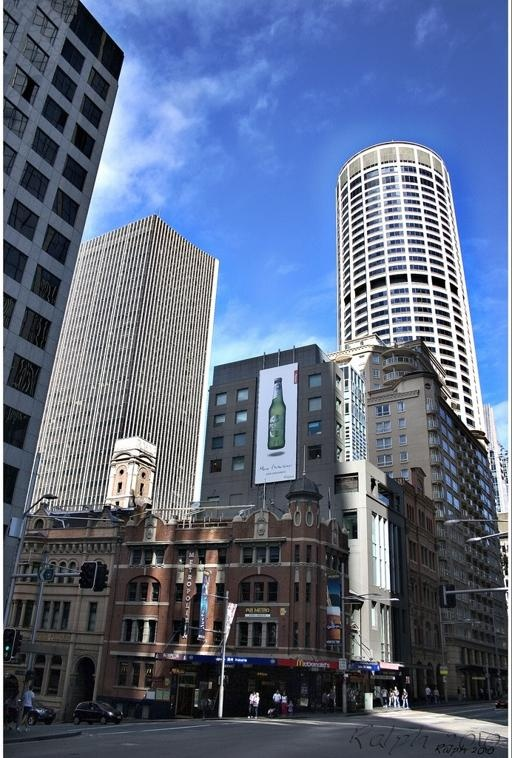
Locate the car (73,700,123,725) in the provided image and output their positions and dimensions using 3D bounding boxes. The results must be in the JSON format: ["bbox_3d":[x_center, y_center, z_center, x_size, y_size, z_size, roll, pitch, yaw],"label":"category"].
[{"bbox_3d":[-9.871,21.035,34.018,2.672,1.317,1.652,-10,-29,14],"label":"car"}]

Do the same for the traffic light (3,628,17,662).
[{"bbox_3d":[-9.157,9.840,20.041,0.472,1.032,0.818,11,-23,-20],"label":"traffic light"}]
